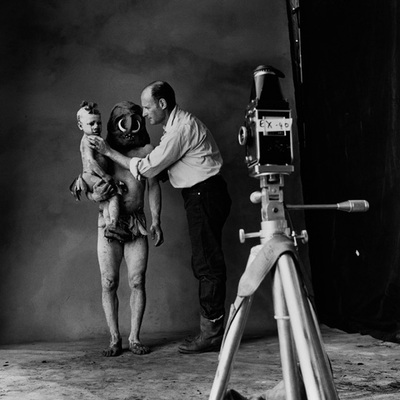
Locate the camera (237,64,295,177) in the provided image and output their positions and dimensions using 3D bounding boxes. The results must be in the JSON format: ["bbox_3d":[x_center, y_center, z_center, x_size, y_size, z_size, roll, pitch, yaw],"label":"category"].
[{"bbox_3d":[0.276,-0.336,2.715,0.220,0.345,0.175,-2,1,2],"label":"camera"}]

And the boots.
[{"bbox_3d":[0.038,0.887,4.170,0.405,0.289,0.153,0,-2,2],"label":"boots"}]
